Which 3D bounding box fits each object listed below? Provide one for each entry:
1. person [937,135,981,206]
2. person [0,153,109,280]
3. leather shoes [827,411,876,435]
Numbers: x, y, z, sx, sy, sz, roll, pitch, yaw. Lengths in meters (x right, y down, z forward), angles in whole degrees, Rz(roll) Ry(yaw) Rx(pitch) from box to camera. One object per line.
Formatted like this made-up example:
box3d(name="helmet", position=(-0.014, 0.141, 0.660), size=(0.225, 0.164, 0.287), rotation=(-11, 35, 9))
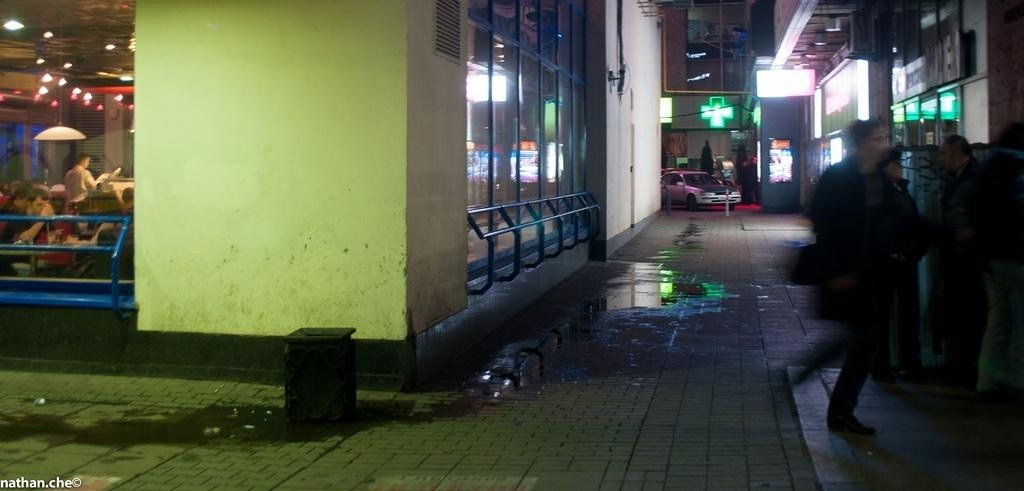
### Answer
box3d(name="person", position=(6.039, -1.066, 10.251), size=(0.449, 0.854, 0.927), rotation=(0, 8, 28))
box3d(name="person", position=(-7.464, -0.530, 12.169), size=(1.358, 1.827, 1.122), rotation=(-2, 8, 13))
box3d(name="leather shoes", position=(4.235, 2.243, 9.638), size=(0.704, 0.223, 0.213), rotation=(0, 1, 12))
